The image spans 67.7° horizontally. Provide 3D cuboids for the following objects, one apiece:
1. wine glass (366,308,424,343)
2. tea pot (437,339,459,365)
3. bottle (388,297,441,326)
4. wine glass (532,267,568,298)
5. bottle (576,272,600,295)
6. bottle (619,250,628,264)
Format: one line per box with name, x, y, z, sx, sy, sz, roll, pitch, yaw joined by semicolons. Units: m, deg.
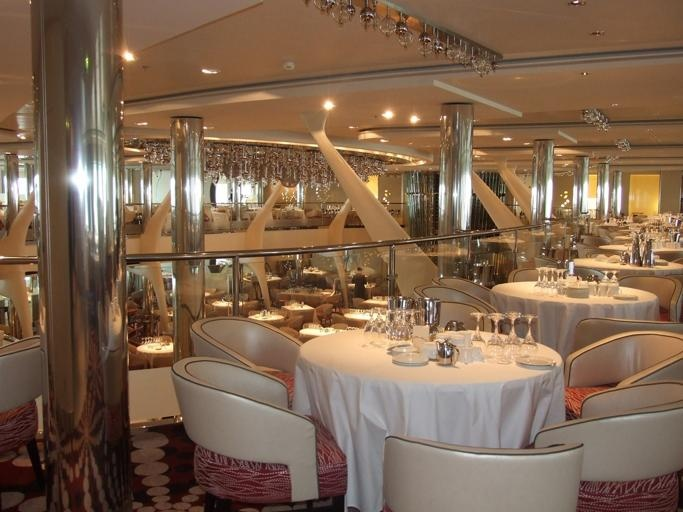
wine glass;0.286;0.385;2.919;0.220;0.131;0.213;1;2;35
tea pot;0.530;0.491;2.610;0.124;0.117;0.079;7;9;41
bottle;0.425;0.311;2.950;0.273;0.236;0.150;0;0;17
wine glass;1.885;0.237;4.591;0.262;0.251;0.251;0;4;20
bottle;2.230;0.258;4.603;0.222;0.197;0.166;2;5;44
bottle;3.483;0.025;6.261;0.099;0.140;0.052;0;-9;26
